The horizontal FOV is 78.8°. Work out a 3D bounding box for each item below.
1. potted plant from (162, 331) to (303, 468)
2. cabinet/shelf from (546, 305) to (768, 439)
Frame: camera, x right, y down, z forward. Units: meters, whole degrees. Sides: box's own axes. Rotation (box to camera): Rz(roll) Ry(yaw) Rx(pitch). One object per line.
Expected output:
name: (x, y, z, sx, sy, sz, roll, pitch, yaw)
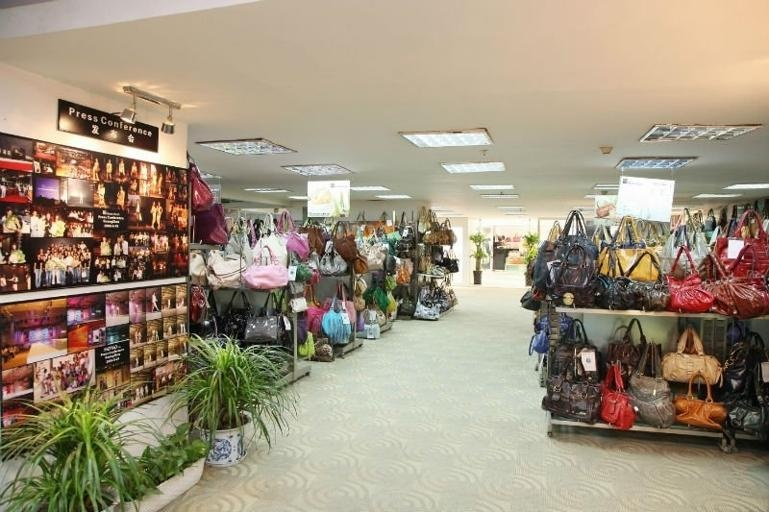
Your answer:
potted plant: (-1.650, 1.456, 5.110, 1.364, 1.053, 1.339, 5, -1, 4)
cabinet/shelf: (3.096, 1.332, 5.210, 1.591, 0.984, 0.558, 1, 4, 15)
